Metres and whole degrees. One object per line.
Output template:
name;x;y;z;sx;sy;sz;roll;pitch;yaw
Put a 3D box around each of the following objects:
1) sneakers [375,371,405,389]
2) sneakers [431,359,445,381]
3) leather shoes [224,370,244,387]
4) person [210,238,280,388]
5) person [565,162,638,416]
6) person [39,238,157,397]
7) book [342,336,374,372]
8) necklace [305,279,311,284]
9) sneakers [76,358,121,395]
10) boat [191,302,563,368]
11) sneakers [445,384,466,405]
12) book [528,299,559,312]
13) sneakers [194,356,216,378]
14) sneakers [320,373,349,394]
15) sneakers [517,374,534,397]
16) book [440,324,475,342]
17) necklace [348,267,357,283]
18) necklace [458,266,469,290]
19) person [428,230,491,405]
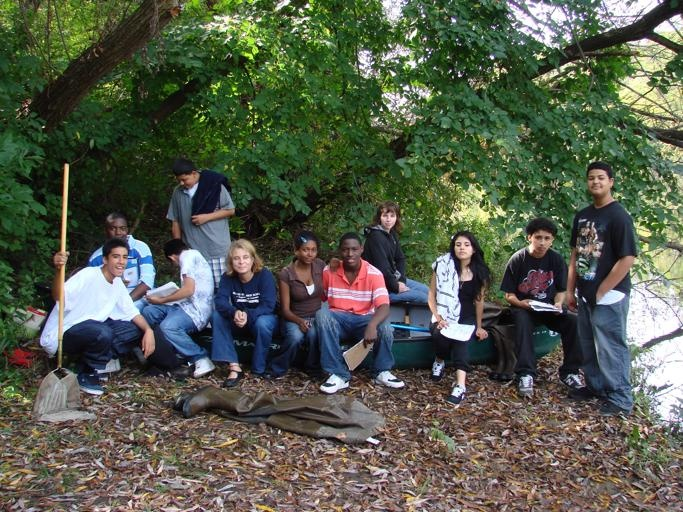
sneakers;0.488;1.272;5.707;0.334;0.128;0.130;2;2;25
sneakers;1.031;1.207;5.883;0.093;0.098;0.257;8;31;14
leather shoes;-1.069;1.222;5.505;0.105;0.134;0.259;1;-3;32
person;-0.972;0.557;5.721;0.680;1.461;0.453;3;-2;-23
person;2.543;0.314;5.447;0.578;2.422;0.683;1;-2;23
person;-2.278;0.565;5.426;0.788;1.469;0.411;4;-3;-41
book;0.168;0.995;5.592;0.291;0.317;0.224;2;-2;2
necklace;-0.340;0.260;5.791;0.044;0.029;0.040;-2;-12;6
sneakers;-2.350;1.184;5.309;0.440;0.183;0.145;13;3;24
boat;0.285;0.826;5.789;3.875;0.577;0.761;1;2;-3
sneakers;1.110;1.347;5.400;0.100;0.097;0.270;11;8;30
book;2.138;0.524;5.827;0.272;0.117;0.273;0;-3;38
sneakers;-1.421;1.136;5.686;0.284;0.177;0.106;-18;-12;-27
sneakers;-0.065;1.268;5.495;0.129;0.116;0.303;-3;-10;35
sneakers;1.889;1.328;5.677;0.153;0.217;0.167;1;-3;17
book;1.197;0.732;5.669;0.236;0.061;0.239;23;34;38
necklace;0.108;0.190;5.759;0.112;0.133;0.050;0;-6;6
necklace;1.292;0.194;5.791;0.136;0.170;0.051;6;-2;8
person;1.264;0.559;5.727;0.617;1.650;0.530;3;-2;-9
